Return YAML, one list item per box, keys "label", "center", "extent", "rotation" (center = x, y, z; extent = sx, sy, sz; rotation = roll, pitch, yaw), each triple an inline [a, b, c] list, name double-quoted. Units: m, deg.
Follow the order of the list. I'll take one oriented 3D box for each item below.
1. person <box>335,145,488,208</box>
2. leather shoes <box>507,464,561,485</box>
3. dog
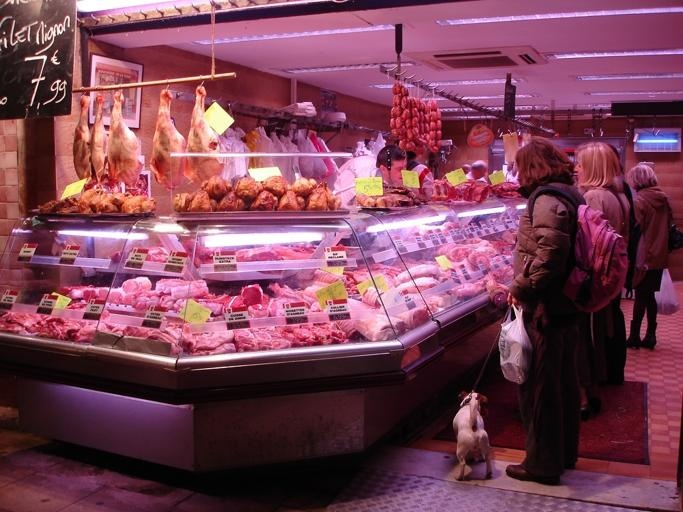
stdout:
- label: "person"
  center: [0.427, -1.008, 6.081]
  extent: [0.831, 0.709, 2.045]
  rotation: [0, 7, -9]
- label: "leather shoes"
  center: [1.136, 1.270, 2.955]
  extent: [0.300, 0.117, 0.108]
  rotation: [5, -1, 25]
- label: "dog"
  center: [0.800, 1.059, 2.981]
  extent: [0.237, 0.507, 0.339]
  rotation: [3, 7, 17]
